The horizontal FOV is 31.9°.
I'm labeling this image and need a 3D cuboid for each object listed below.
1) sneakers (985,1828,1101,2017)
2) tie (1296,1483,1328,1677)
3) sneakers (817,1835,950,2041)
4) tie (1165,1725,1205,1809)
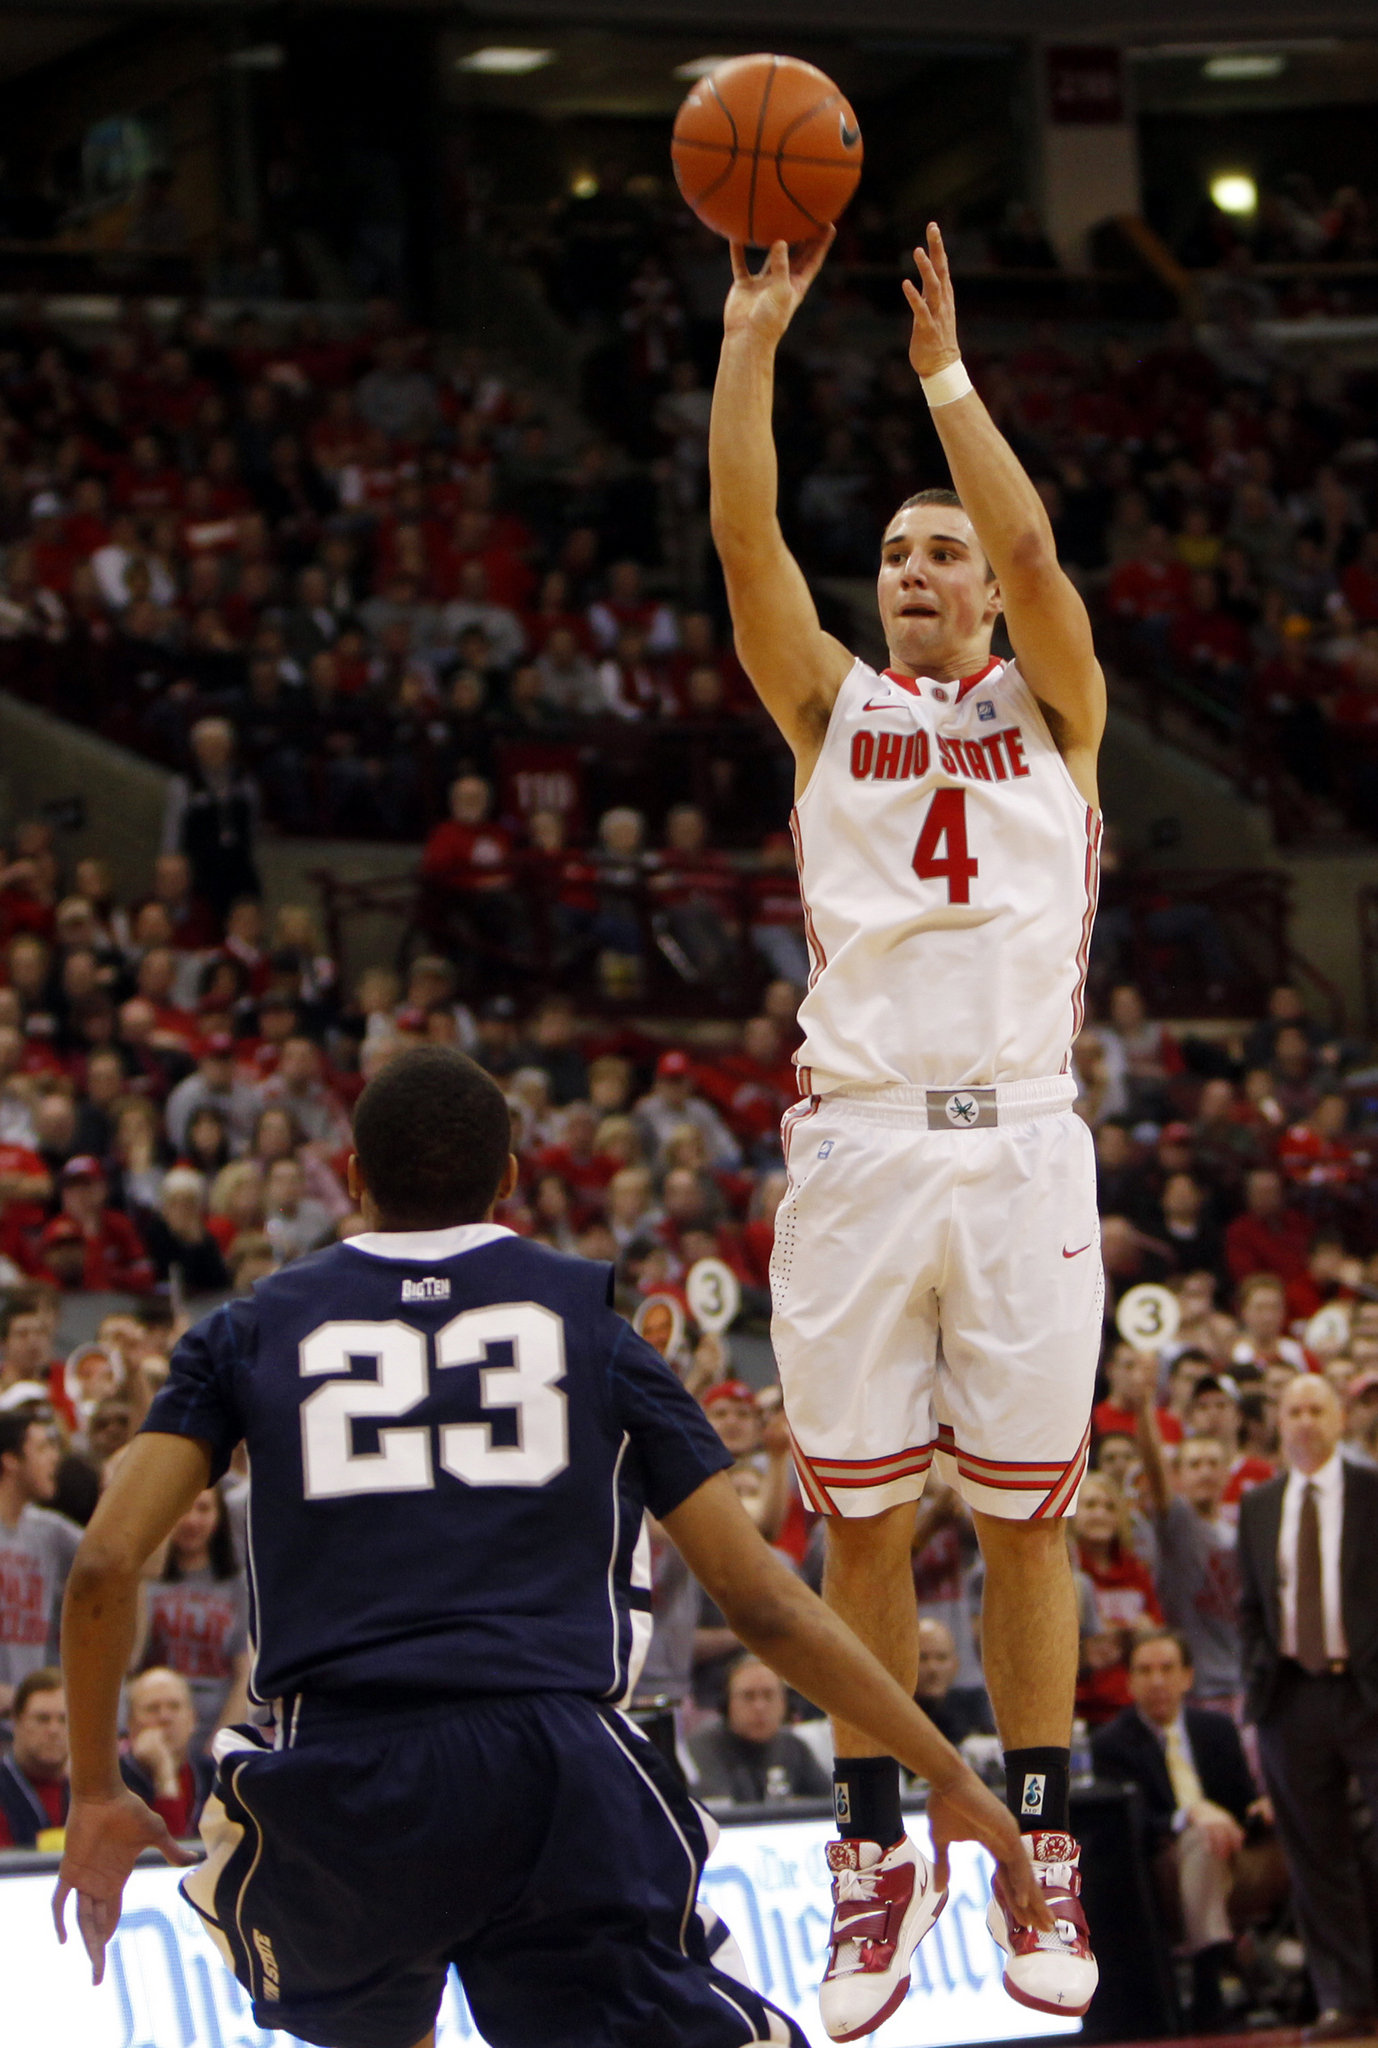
[{"bbox_3d":[0.499,1.233,3.304,0.143,0.197,0.381,-1,-5,-3],"label":"sneakers"},{"bbox_3d":[1.900,1.709,7.426,0.098,0.487,0.188,-4,1,12],"label":"tie"},{"bbox_3d":[0.279,1.326,3.455,0.182,0.270,0.330,-4,0,4],"label":"sneakers"},{"bbox_3d":[1.696,2.555,8.284,0.090,0.309,0.113,-17,-11,39],"label":"tie"}]
